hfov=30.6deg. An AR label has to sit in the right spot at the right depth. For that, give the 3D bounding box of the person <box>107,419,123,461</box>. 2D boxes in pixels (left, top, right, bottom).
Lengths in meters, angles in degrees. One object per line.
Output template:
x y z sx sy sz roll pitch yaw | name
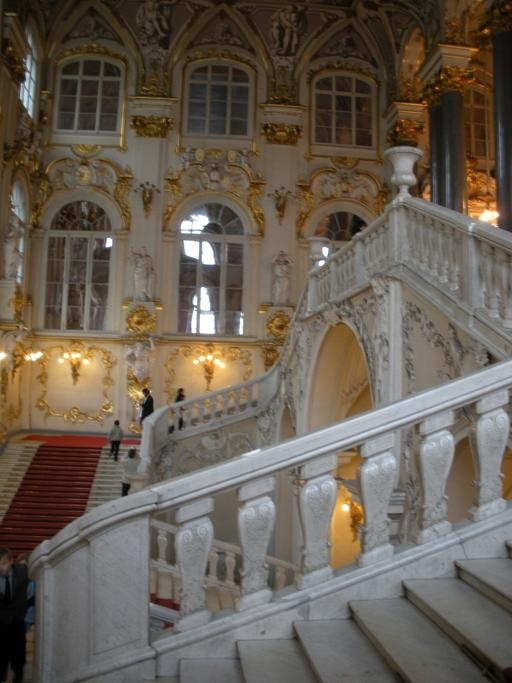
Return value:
-2.098 1.489 14.047 0.176 0.628 0.779 2 -2 -9 | person

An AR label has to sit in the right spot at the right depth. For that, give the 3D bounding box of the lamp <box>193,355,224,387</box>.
-0.870 0.555 17.512 0.644 0.634 0.557 1 -11 -3 | lamp
